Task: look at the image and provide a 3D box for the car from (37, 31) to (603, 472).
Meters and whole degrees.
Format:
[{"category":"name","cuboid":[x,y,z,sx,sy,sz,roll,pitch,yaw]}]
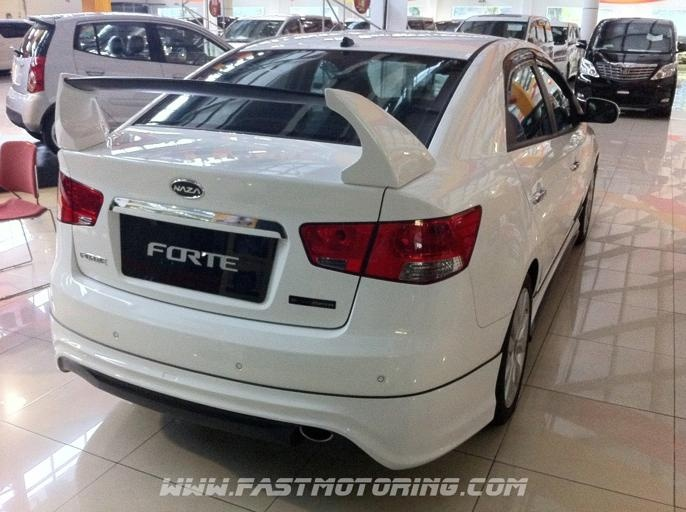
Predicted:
[{"category":"car","cuboid":[0.253,-0.238,2.368,1.507,0.980,2.524,8,27,26]}]
